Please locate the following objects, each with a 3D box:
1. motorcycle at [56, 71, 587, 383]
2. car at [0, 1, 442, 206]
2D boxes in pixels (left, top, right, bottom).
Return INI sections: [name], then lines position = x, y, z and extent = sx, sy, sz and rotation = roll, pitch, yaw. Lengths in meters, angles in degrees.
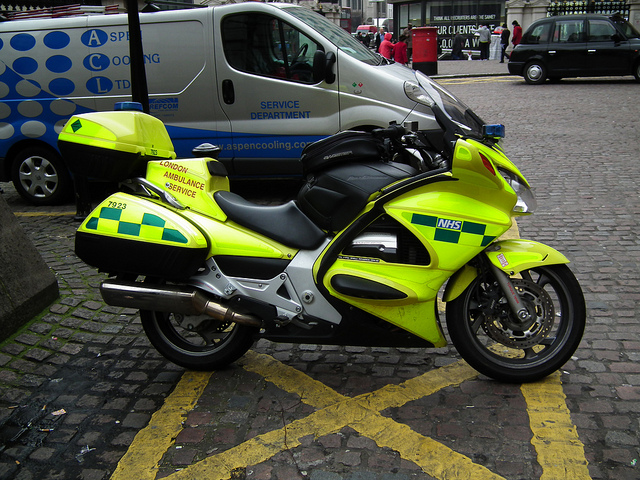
[motorcycle]
position = 0.060, 0.025, 3.117
extent = 3.545, 1.343, 0.907
rotation = 4, -5, -1
[car]
position = -1.619, -1.859, 6.000
extent = 5.657, 1.748, 1.811
rotation = -3, 12, 0
